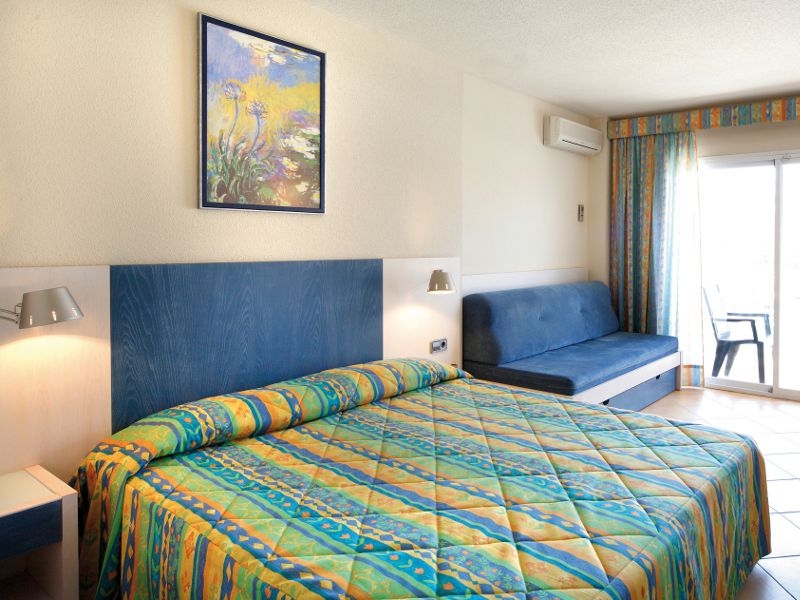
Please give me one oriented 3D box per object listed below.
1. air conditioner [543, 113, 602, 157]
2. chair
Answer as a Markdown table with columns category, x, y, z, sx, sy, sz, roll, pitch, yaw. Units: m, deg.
| category | x | y | z | sx | sy | sz | roll | pitch | yaw |
| --- | --- | --- | --- | --- | --- | --- | --- | --- | --- |
| air conditioner | 1.774 | -1.634 | 5.440 | 0.847 | 0.308 | 0.140 | -3 | 12 | -41 |
| chair | 3.475 | 0.295 | 5.542 | 0.617 | 0.896 | 0.687 | -2 | 12 | 27 |
